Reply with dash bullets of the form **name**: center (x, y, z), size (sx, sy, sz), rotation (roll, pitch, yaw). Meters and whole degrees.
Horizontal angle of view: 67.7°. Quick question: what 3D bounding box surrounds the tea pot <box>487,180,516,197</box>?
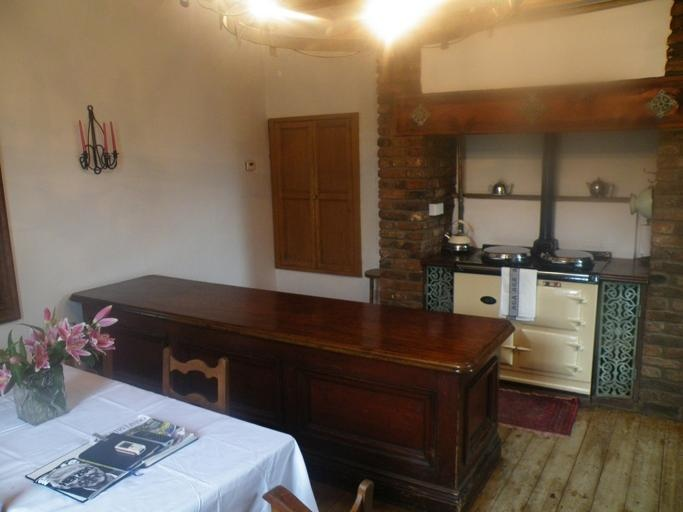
- **tea pot**: center (1.519, -0.635, 4.838), size (0.191, 0.131, 0.140), rotation (2, 9, 40)

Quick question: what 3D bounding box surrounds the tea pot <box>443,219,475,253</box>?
- **tea pot**: center (1.113, -0.193, 4.966), size (0.320, 0.311, 0.298), rotation (1, 4, 0)

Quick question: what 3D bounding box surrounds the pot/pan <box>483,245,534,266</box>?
- **pot/pan**: center (1.441, 0.004, 4.436), size (0.408, 0.119, 0.265), rotation (0, 9, 15)

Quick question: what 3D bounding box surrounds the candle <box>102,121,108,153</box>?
- **candle**: center (-1.970, -0.993, 4.260), size (0.012, 0.233, 0.042), rotation (2, 10, 28)

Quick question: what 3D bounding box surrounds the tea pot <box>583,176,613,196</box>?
- **tea pot**: center (2.244, -0.589, 4.444), size (0.154, 0.156, 0.184), rotation (0, -2, 37)

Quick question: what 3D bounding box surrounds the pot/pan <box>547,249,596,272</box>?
- **pot/pan**: center (1.854, 0.045, 4.185), size (0.385, 0.108, 0.272), rotation (1, 9, 23)

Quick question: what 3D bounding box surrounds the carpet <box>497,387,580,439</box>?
- **carpet**: center (1.541, 1.216, 4.019), size (0.572, 0.075, 0.554), rotation (1, 9, 25)

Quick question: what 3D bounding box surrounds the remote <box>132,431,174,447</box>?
- **remote**: center (-0.868, 0.824, 2.339), size (0.081, 0.020, 0.083), rotation (3, 0, 19)

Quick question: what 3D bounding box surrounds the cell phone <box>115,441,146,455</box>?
- **cell phone**: center (-0.941, 0.847, 2.271), size (0.087, 0.018, 0.054), rotation (5, 7, 17)

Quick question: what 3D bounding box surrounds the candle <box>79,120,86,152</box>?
- **candle**: center (-2.079, -0.962, 4.095), size (0.042, 0.243, 0.054), rotation (-7, 10, -25)

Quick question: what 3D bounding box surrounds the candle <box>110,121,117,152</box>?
- **candle**: center (-1.920, -1.002, 4.299), size (0.036, 0.240, 0.080), rotation (-6, 10, -19)
